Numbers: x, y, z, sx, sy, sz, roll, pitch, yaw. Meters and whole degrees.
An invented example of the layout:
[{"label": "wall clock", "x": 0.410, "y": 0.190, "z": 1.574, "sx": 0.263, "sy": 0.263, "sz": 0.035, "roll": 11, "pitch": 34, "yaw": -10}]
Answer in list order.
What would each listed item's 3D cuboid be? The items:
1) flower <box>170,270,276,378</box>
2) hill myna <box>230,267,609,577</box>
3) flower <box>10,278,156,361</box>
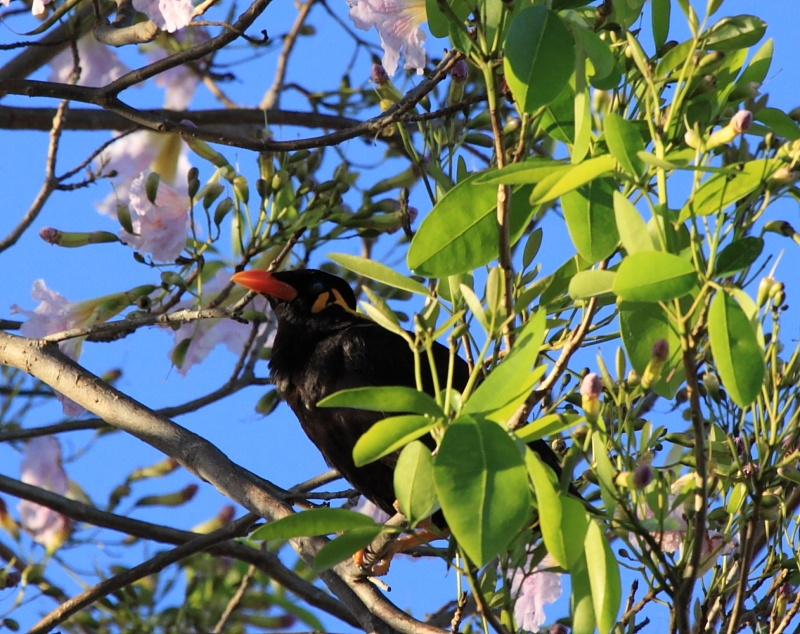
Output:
[{"label": "flower", "x": -0.526, "y": 0.072, "z": 5.031, "sx": 0.425, "sy": 0.132, "sz": 0.436, "roll": -3, "pitch": -85, "yaw": -22}, {"label": "hill myna", "x": 0.089, "y": 0.225, "z": 5.124, "sx": 1.234, "sy": 0.972, "sz": 0.581, "roll": -2, "pitch": -31, "yaw": 4}, {"label": "flower", "x": -0.882, "y": 0.020, "z": 4.457, "sx": 0.271, "sy": 0.107, "sz": 0.168, "roll": -13, "pitch": -57, "yaw": 10}]
